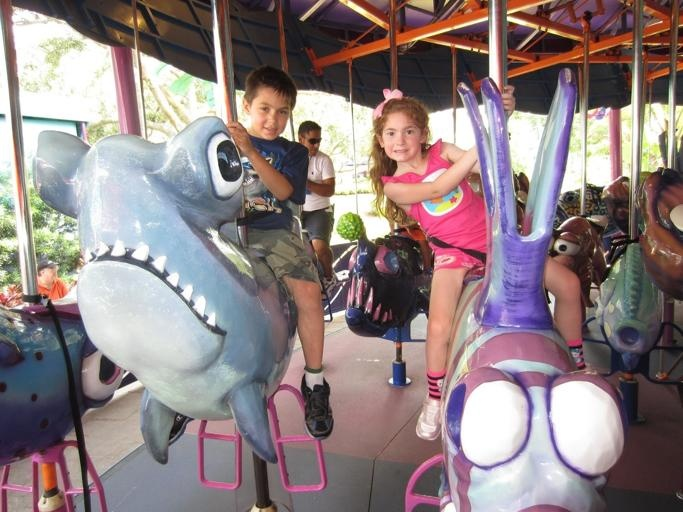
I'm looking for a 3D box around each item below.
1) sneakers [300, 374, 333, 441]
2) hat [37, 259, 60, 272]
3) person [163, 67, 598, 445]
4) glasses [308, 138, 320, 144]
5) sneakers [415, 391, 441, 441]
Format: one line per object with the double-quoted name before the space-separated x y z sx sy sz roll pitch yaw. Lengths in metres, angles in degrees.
"sneakers" -0.103 0.586 2.280 0.082 0.119 0.287 -1 35 -10
"hat" -2.385 0.087 4.578 0.117 0.051 0.102 -14 -1 45
"person" 0.377 0.016 2.124 1.063 1.298 0.943 3 11 35
"glasses" -0.228 -0.952 4.686 0.050 0.018 0.057 -10 55 -9
"sneakers" 0.326 0.613 2.120 0.087 0.178 0.140 -1 9 10
